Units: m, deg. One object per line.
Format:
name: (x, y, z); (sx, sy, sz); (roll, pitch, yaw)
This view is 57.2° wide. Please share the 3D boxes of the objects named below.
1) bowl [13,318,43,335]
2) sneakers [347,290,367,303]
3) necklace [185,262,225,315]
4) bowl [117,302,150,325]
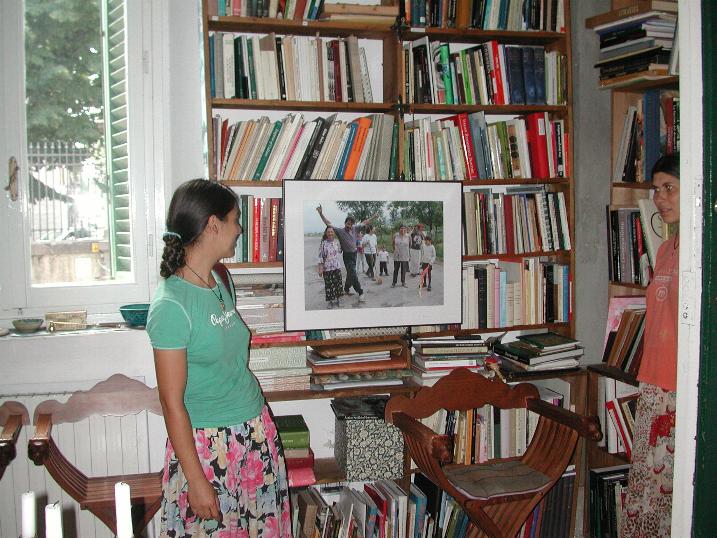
bowl: (-1.701, 0.296, 3.396); (0.092, 0.040, 0.095); (-1, 4, 0)
sneakers: (-0.011, 0.147, 3.367); (0.115, 0.055, 0.041); (22, 15, -11)
necklace: (-0.602, 0.085, 2.585); (0.034, 0.172, 0.116); (-24, -12, 13)
bowl: (-1.165, 0.240, 3.417); (0.150, 0.100, 0.153); (1, -1, 0)
